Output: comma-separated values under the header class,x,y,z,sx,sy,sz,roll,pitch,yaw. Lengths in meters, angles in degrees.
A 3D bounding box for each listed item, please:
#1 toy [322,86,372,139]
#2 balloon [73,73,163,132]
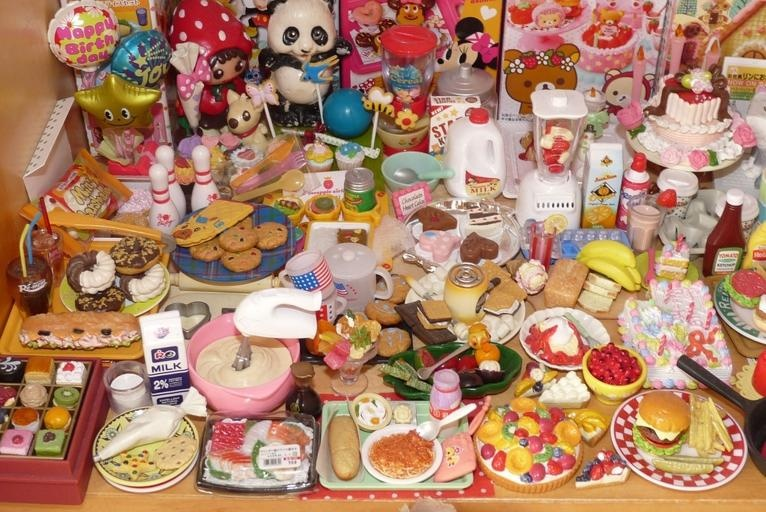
class,x,y,z,sx,sy,sz,roll,pitch,yaw
toy,-0.153,-0.680,2.891,0.234,0.266,0.228,-11,86,3
balloon,-1.115,-0.632,2.422,0.324,0.310,0.134,-4,55,-12
